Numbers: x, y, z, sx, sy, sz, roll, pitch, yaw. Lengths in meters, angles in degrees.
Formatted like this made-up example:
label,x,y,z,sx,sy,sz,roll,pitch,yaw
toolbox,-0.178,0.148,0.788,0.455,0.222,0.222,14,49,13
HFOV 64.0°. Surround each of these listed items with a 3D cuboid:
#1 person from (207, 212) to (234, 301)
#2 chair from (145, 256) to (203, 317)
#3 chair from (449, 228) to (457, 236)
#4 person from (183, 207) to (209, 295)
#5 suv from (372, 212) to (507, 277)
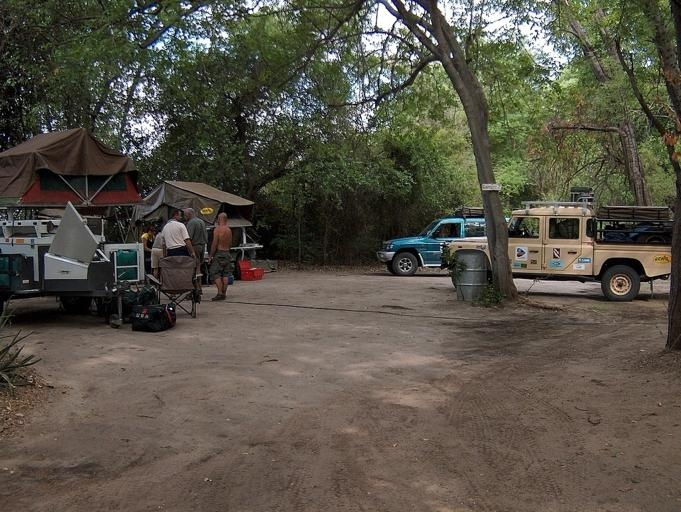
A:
label,x,y,z,sx,sy,sz,roll,pitch,yaw
person,-3.053,0.055,14.555,0.939,2.019,0.635,0,1,38
chair,-3.550,0.635,11.781,1.071,1.313,0.979,2,1,-13
chair,4.398,-0.907,21.283,0.318,0.337,0.601,1,-3,3
person,-3.674,-0.037,12.340,0.721,1.881,0.406,-5,8,1
suv,3.655,-0.550,22.183,4.538,2.611,1.967,0,0,1
